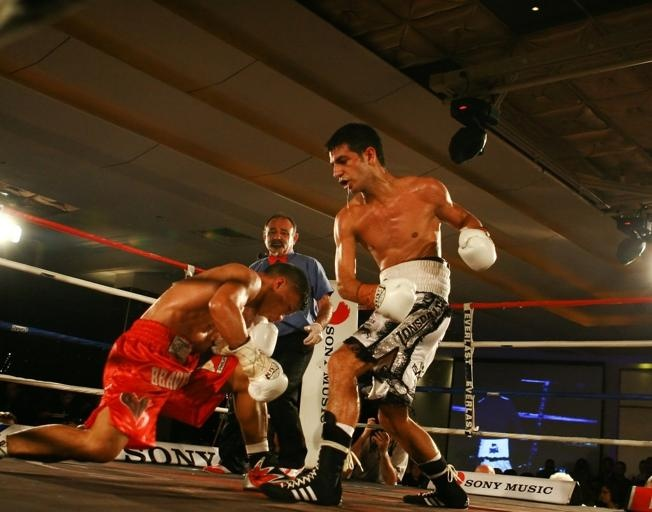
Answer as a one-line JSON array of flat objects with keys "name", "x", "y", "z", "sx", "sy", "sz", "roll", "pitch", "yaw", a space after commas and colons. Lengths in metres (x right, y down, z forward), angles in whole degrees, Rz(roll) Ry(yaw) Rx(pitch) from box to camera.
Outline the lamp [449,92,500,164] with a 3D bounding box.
[{"name": "lamp", "x": 1.280, "y": -1.026, "z": 4.567, "sx": 0.564, "sy": 0.488, "sz": 0.363, "roll": 2, "pitch": 14, "yaw": 21}]

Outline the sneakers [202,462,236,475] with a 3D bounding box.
[{"name": "sneakers", "x": -0.661, "y": 1.331, "z": 3.425, "sx": 0.086, "sy": 0.048, "sz": 0.149, "roll": -14, "pitch": -32, "yaw": 42}]

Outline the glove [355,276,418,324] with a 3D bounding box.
[{"name": "glove", "x": 0.229, "y": 0.180, "z": 2.269, "sx": 0.236, "sy": 0.166, "sz": 0.138, "roll": 13, "pitch": -19, "yaw": 1}]

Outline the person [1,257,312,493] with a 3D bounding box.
[{"name": "person", "x": -0.559, "y": 0.480, "z": 2.400, "sx": 0.808, "sy": 0.993, "sz": 0.921, "roll": 2, "pitch": -18, "yaw": 17}]

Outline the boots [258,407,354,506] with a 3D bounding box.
[{"name": "boots", "x": -0.079, "y": 0.759, "z": 2.081, "sx": 0.324, "sy": 0.338, "sz": 0.157, "roll": 5, "pitch": -20, "yaw": 8}]
